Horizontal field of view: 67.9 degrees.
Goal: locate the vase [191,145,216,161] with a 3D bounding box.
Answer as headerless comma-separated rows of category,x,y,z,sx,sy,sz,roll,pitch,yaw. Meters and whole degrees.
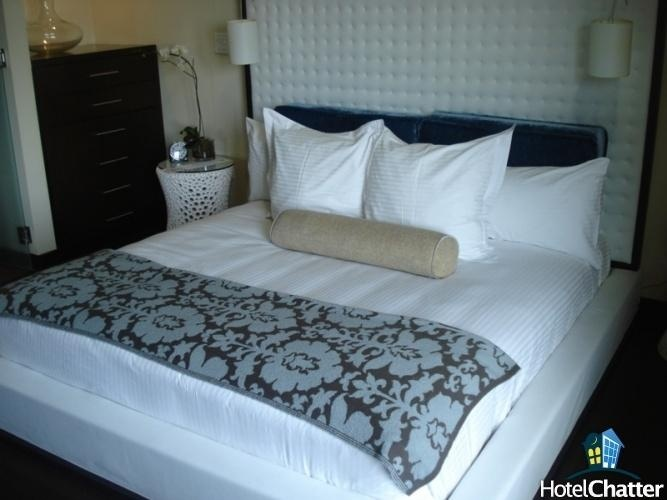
vase,-0.943,-0.718,3.629,0.125,0.099,0.127,16,23,39
